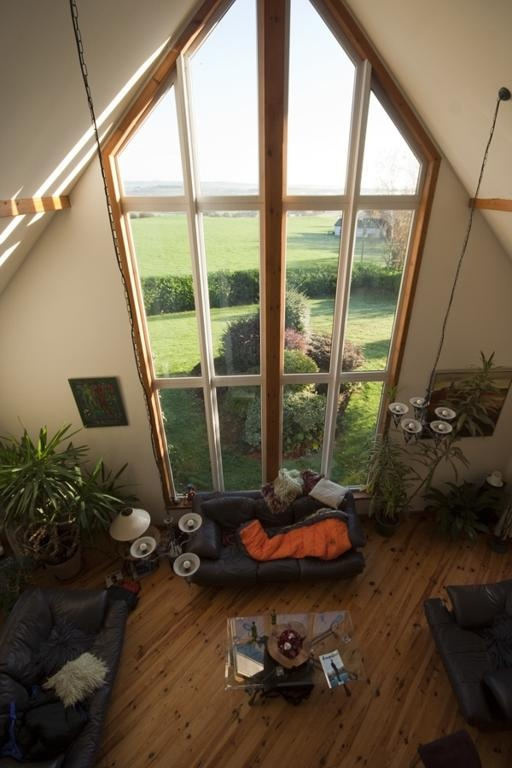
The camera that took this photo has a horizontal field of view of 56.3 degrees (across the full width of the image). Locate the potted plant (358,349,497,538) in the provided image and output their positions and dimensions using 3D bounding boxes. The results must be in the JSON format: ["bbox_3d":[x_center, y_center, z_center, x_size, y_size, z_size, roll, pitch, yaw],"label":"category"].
[{"bbox_3d":[1.966,0.618,5.420,1.246,2.367,1.074,-20,50,-12],"label":"potted plant"}]

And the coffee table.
[{"bbox_3d":[0.270,2.247,4.042,1.071,0.234,0.609,-1,43,-1],"label":"coffee table"}]

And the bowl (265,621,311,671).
[{"bbox_3d":[0.269,2.170,4.007,0.348,0.142,0.424,-2,26,0],"label":"bowl"}]

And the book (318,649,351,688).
[{"bbox_3d":[0.643,2.340,3.928,0.281,0.064,0.264,-12,57,-14],"label":"book"}]
